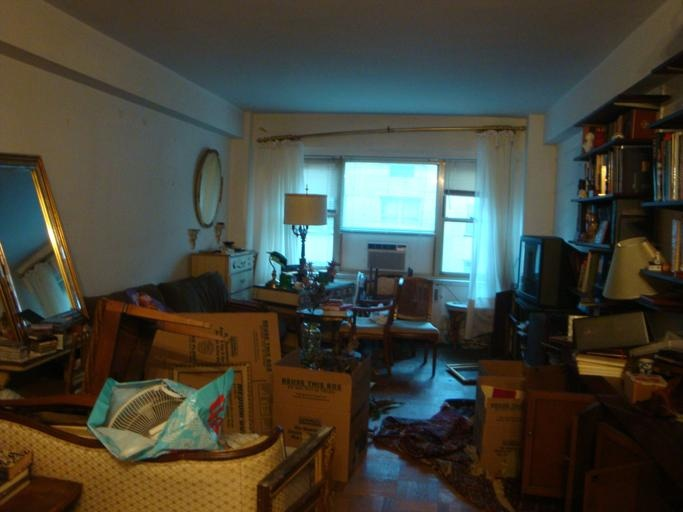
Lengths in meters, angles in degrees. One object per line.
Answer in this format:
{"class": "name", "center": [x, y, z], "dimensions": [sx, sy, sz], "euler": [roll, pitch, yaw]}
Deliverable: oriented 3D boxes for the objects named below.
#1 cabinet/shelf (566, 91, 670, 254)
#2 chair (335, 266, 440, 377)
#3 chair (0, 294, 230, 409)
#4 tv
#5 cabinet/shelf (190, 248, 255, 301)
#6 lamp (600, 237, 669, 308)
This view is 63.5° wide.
{"class": "cabinet/shelf", "center": [2.032, -0.617, 4.039], "dimensions": [0.390, 1.191, 1.342], "euler": [4, 8, 14]}
{"class": "chair", "center": [0.457, 0.709, 5.854], "dimensions": [0.971, 1.219, 0.854], "euler": [2, -3, 2]}
{"class": "chair", "center": [-1.232, 0.578, 3.263], "dimensions": [0.865, 0.685, 1.322], "euler": [0, 12, -5]}
{"class": "tv", "center": [2.021, 0.182, 5.290], "dimensions": [0.542, 0.709, 0.740], "euler": [3, 3, 8]}
{"class": "cabinet/shelf", "center": [-1.318, 0.270, 6.155], "dimensions": [0.470, 0.635, 0.857], "euler": [2, 3, 6]}
{"class": "lamp", "center": [1.915, 0.085, 3.627], "dimensions": [0.383, 0.356, 0.371], "euler": [-3, 11, 37]}
